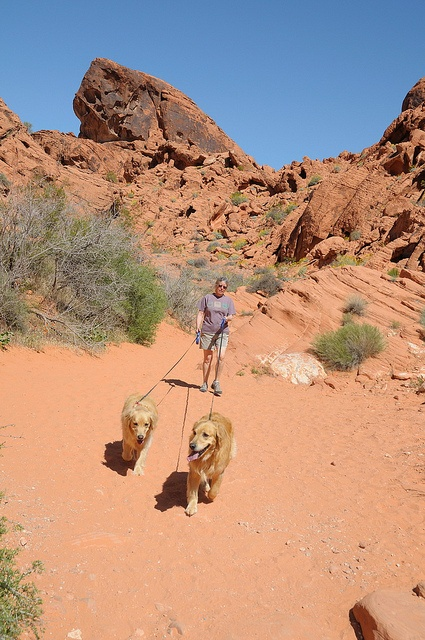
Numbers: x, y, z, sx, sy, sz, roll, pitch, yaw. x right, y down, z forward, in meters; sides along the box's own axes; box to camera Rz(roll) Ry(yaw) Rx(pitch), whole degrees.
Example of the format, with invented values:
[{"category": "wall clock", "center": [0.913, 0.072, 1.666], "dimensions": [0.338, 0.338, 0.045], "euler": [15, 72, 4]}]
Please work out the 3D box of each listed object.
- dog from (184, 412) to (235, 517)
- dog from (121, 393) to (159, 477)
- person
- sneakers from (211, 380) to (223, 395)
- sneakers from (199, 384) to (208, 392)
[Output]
[{"category": "dog", "center": [-0.013, 1.254, 4.374], "dimensions": [0.377, 0.867, 0.818], "euler": [5, 10, 6]}, {"category": "dog", "center": [-0.786, 1.128, 5.242], "dimensions": [0.331, 0.740, 1.155], "euler": [7, 9, -8]}, {"category": "person", "center": [0.027, 0.301, 7.336], "dimensions": [0.524, 1.881, 0.988], "euler": [3, 10, 0]}, {"category": "sneakers", "center": [0.064, 1.080, 7.840], "dimensions": [0.160, 0.211, 0.487], "euler": [2, -9, -5]}, {"category": "sneakers", "center": [-0.131, 1.073, 7.749], "dimensions": [0.108, 0.132, 0.301], "euler": [1, -8, 2]}]
